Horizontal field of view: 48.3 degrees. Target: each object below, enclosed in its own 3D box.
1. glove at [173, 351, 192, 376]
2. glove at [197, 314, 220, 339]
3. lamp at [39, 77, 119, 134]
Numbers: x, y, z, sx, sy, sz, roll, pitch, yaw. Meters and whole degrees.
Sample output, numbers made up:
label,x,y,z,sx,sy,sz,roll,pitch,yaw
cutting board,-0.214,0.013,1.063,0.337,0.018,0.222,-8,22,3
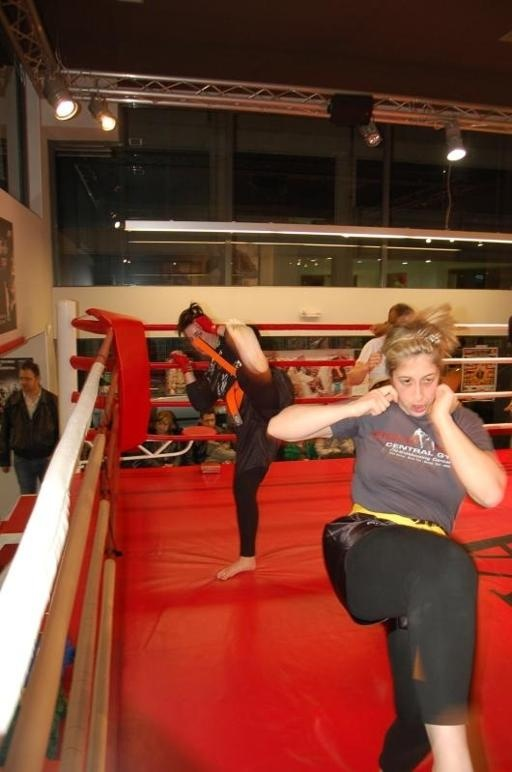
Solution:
label,x,y,z,sx,sy,sz,roll,pitch,yaw
glove,-0.372,-0.113,2.986,0.058,0.108,0.143,-33,52,-25
glove,-0.206,-0.261,2.525,0.077,0.103,0.033,-45,-11,-5
lamp,-1.271,-2.014,4.028,0.194,0.328,0.633,-6,36,9
